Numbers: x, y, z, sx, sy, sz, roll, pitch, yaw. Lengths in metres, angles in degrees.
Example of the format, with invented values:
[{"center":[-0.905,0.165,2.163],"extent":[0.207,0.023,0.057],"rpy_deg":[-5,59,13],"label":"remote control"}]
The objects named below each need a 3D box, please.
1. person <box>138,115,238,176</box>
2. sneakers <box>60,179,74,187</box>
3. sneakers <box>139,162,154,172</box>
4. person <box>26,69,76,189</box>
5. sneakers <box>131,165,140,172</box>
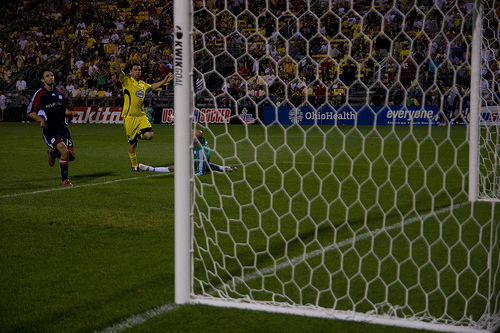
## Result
[{"center":[-0.768,-0.201,8.227],"extent":[1.502,0.611,0.496],"rpy_deg":[1,17,-37],"label":"person"},{"center":[-2.817,0.259,9.372],"extent":[0.232,0.081,0.102],"rpy_deg":[5,-10,45],"label":"sneakers"},{"center":[-1.821,0.031,10.554],"extent":[0.350,0.134,0.115],"rpy_deg":[3,-4,28],"label":"sneakers"},{"center":[-3.082,-0.605,9.482],"extent":[0.678,1.770,0.923],"rpy_deg":[-1,6,-16],"label":"person"},{"center":[-2.006,0.036,10.664],"extent":[0.144,0.090,0.138],"rpy_deg":[-12,15,12],"label":"sneakers"}]
